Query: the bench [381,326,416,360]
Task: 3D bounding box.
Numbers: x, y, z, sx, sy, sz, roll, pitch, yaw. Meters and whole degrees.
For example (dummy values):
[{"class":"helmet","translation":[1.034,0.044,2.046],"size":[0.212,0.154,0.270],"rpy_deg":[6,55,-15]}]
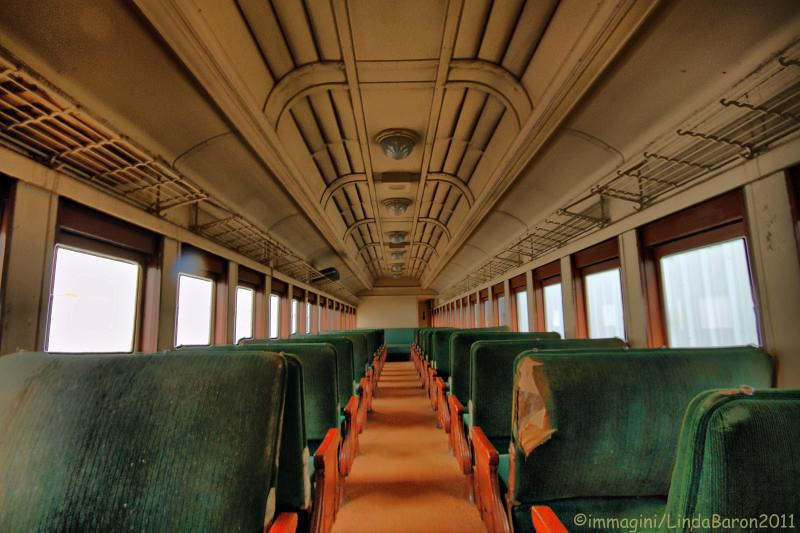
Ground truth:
[{"class":"bench","translation":[-0.066,2.804,18.110],"size":[1.518,1.472,1.086],"rpy_deg":[0,-36,0]}]
